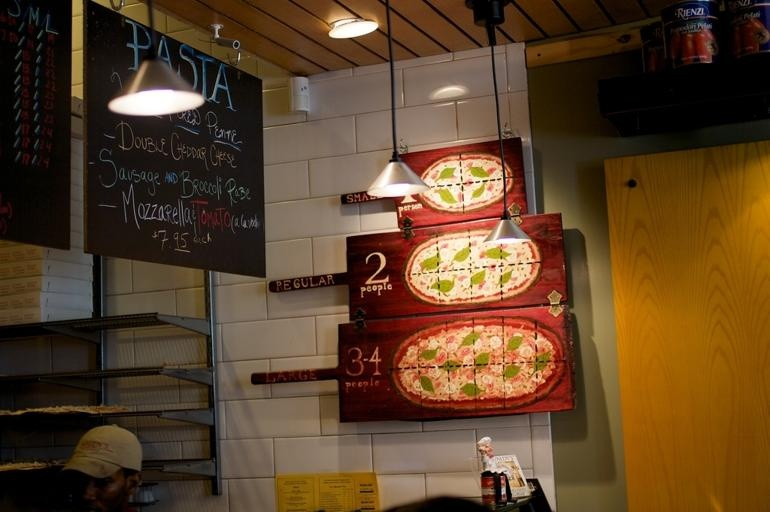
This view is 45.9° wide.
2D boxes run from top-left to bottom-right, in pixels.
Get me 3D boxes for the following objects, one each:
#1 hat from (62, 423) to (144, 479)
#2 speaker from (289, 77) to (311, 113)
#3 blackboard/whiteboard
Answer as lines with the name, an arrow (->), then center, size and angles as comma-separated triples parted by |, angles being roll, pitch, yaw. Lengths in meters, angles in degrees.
hat -> -1.310, 0.906, 4.181 | 0.205, 0.166, 0.289 | 3, -14, 27
speaker -> -0.494, -0.932, 5.260 | 0.114, 0.200, 0.071 | -4, -10, 2
blackboard/whiteboard -> -1.182, -0.551, 4.307 | 0.049, 1.070, 1.373 | -8, -15, 27
